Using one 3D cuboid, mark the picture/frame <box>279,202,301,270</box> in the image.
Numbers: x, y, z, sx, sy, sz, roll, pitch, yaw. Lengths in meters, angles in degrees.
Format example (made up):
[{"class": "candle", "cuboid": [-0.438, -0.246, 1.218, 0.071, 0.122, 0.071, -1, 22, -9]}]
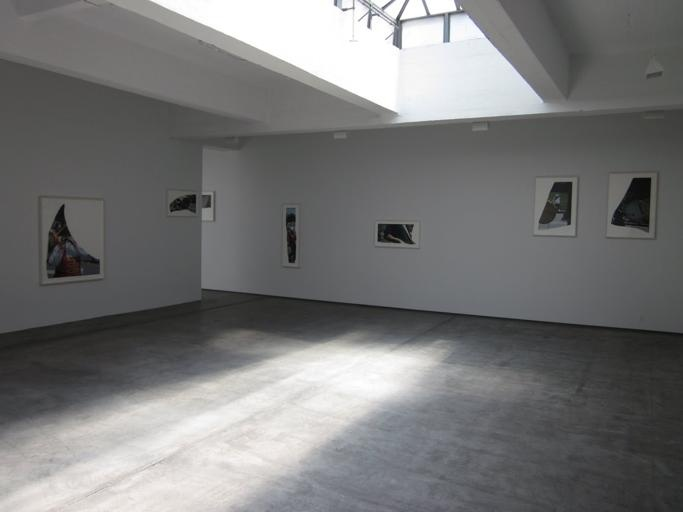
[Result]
[{"class": "picture/frame", "cuboid": [-1.394, -0.548, 12.368, 0.535, 1.647, 0.096, 3, 4, 31]}]
